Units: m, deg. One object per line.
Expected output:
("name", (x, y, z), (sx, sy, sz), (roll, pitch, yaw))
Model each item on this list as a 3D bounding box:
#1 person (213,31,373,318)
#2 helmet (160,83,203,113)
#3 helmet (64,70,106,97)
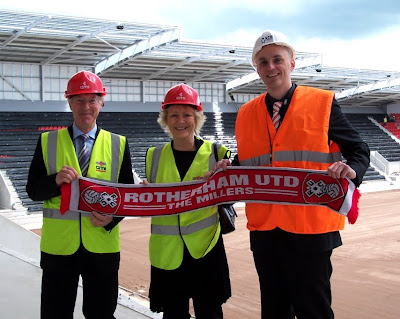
("person", (0.831, 0.161, 3.698), (1.151, 2.518, 0.494), (0, 2, 18))
("helmet", (-0.188, -0.595, 4.170), (0.392, 0.207, 0.450), (2, -6, 0))
("helmet", (-1.117, -0.744, 4.212), (0.429, 0.212, 0.452), (-6, 8, -13))
